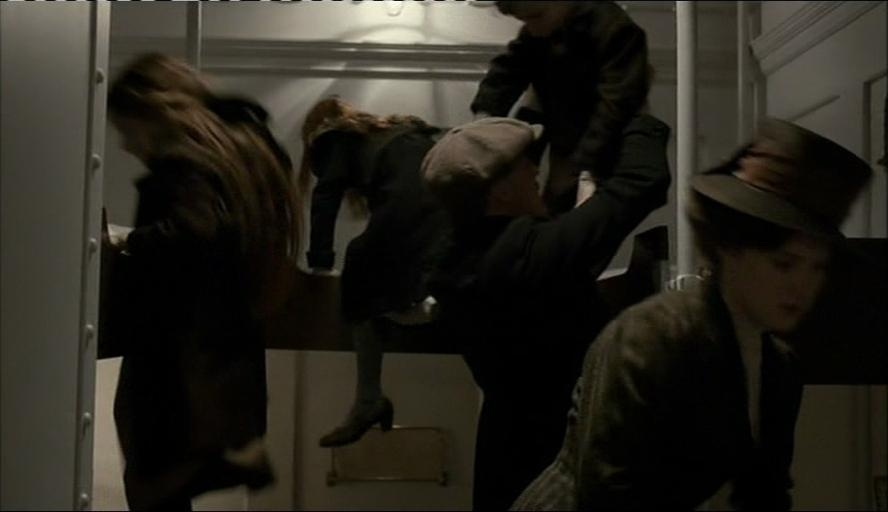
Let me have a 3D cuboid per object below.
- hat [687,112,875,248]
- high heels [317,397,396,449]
[{"bbox_3d":[1.750,-0.386,5.069,0.727,0.346,0.665,26,1,-10],"label":"hat"},{"bbox_3d":[-0.456,0.831,4.939,0.453,0.199,0.146,-13,3,-33],"label":"high heels"}]
